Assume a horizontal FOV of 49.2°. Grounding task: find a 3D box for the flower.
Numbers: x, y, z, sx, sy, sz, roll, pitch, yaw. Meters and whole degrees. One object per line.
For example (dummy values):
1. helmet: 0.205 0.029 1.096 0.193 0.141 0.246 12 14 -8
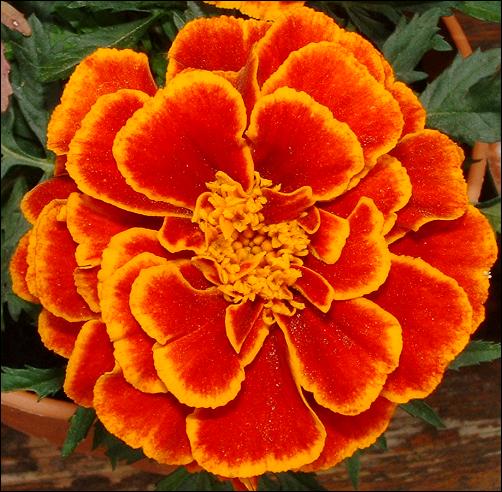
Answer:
1. flower: -0.015 0.008 0.709 0.670 0.218 0.517 3 94 0
